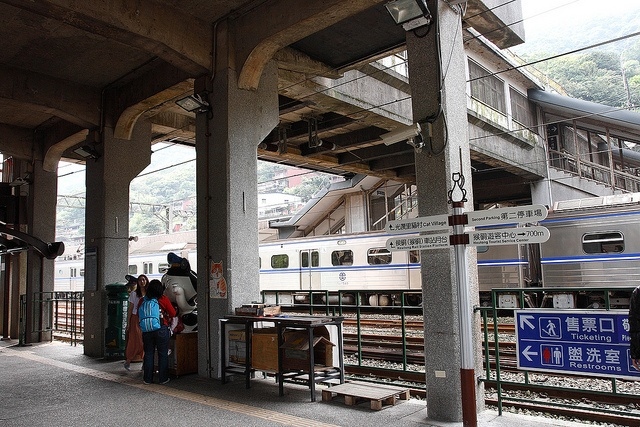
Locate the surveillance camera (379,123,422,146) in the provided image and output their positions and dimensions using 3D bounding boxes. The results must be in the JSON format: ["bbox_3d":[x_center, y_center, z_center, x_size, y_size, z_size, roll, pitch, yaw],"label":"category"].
[{"bbox_3d":[1.575,-1.555,9.944,0.274,0.320,0.846,2,-4,-38],"label":"surveillance camera"}]

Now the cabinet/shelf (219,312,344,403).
[{"bbox_3d":[-0.946,3.138,11.452,2.820,1.556,1.085,-7,-11,39],"label":"cabinet/shelf"}]

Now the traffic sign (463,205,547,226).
[{"bbox_3d":[2.949,0.038,8.160,1.221,0.318,0.523,-1,-3,13],"label":"traffic sign"}]

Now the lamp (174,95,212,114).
[{"bbox_3d":[-3.085,-2.658,12.407,0.533,0.132,0.509,-4,-24,33],"label":"lamp"}]

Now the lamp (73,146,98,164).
[{"bbox_3d":[-7.010,-1.798,15.215,0.606,0.442,0.584,-3,-4,43],"label":"lamp"}]

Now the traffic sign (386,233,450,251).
[{"bbox_3d":[1.660,0.492,8.664,1.135,0.286,0.270,-3,-4,39],"label":"traffic sign"}]
